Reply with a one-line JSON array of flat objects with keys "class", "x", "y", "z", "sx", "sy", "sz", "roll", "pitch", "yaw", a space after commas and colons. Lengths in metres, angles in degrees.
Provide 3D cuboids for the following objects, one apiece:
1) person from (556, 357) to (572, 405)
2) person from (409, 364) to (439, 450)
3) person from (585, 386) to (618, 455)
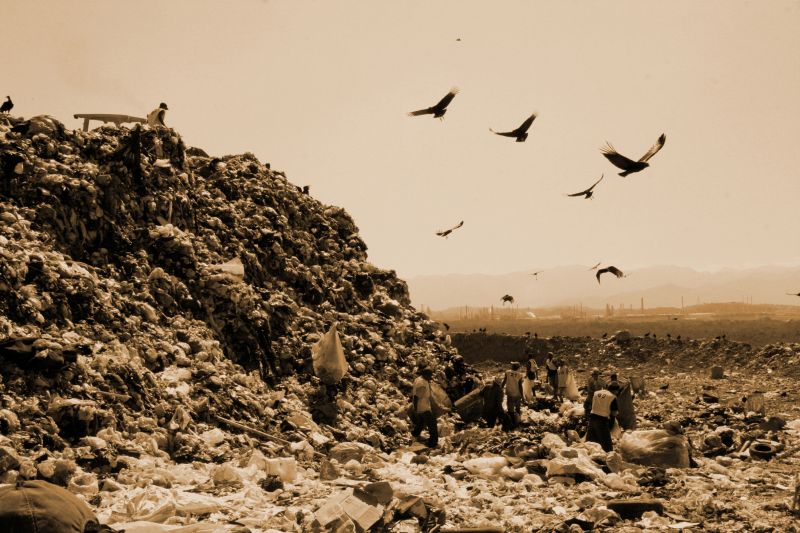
[{"class": "person", "x": 3.857, "y": 2.695, "z": 25.983, "sx": 0.288, "sy": 0.963, "sz": 0.466, "roll": 2, "pitch": -8, "yaw": -29}, {"class": "person", "x": 0.452, "y": 2.812, "z": 21.809, "sx": 0.504, "sy": 1.570, "sz": 1.211, "roll": -2, "pitch": -7, "yaw": 0}, {"class": "person", "x": 3.942, "y": 2.974, "z": 21.317, "sx": 0.600, "sy": 1.172, "sz": 1.064, "roll": -4, "pitch": -7, "yaw": 13}]
